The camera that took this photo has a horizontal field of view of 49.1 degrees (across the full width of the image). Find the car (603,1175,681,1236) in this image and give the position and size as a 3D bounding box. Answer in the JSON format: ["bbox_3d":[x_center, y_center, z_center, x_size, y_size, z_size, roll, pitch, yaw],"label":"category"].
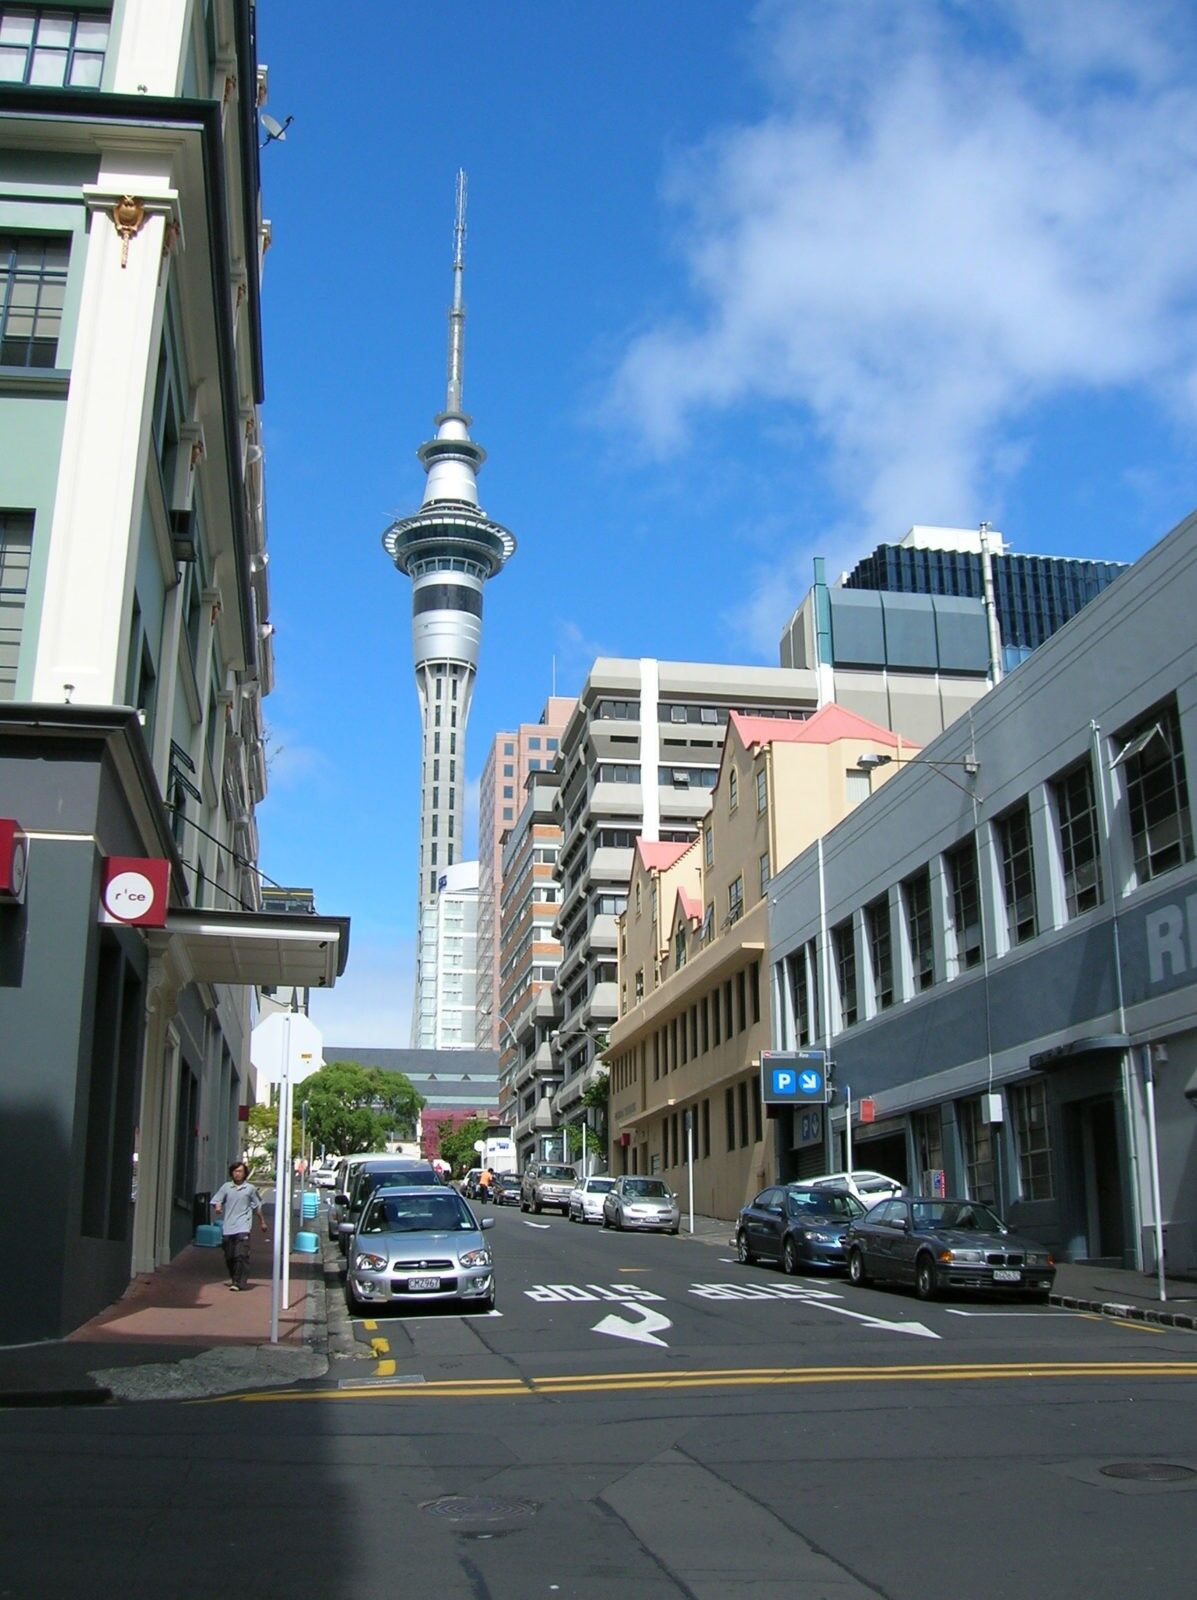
[{"bbox_3d":[1.213,11.323,37.050,1.165,1.037,2.165,3,-22,-8],"label":"car"}]

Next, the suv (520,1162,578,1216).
[{"bbox_3d":[-1.777,14.718,50.090,1.512,1.545,3.347,3,-17,-13],"label":"suv"}]

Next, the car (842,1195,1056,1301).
[{"bbox_3d":[5.213,6.543,19.379,1.948,1.356,4.113,3,-16,-8],"label":"car"}]

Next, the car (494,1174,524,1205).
[{"bbox_3d":[-3.786,17.701,59.199,1.391,1.442,2.689,3,-13,-15],"label":"car"}]

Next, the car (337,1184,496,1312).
[{"bbox_3d":[-2.459,5.941,17.424,1.642,1.558,3.519,1,-21,-6],"label":"car"}]

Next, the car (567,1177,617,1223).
[{"bbox_3d":[-0.179,12.364,40.824,1.090,1.037,2.334,1,-20,-6],"label":"car"}]
